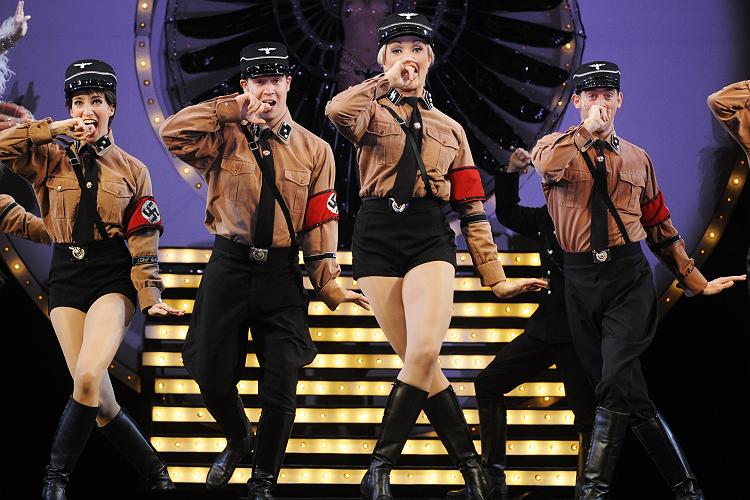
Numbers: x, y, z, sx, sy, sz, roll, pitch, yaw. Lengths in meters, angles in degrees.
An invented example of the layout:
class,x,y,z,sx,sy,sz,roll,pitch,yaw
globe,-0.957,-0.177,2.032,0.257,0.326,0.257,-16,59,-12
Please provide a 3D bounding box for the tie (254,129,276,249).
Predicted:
class,x,y,z,sx,sy,sz,roll,pitch,yaw
tie,-0.822,-0.421,5.921,0.158,0.811,0.112,1,4,-5

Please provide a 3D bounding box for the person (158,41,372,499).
class,x,y,z,sx,sy,sz,roll,pitch,yaw
person,-0.881,0.164,5.940,1.241,3.468,0.663,1,4,-5

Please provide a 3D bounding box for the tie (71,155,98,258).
class,x,y,z,sx,sy,sz,roll,pitch,yaw
tie,-2.263,-0.325,6.231,0.195,0.794,0.114,1,4,-8
